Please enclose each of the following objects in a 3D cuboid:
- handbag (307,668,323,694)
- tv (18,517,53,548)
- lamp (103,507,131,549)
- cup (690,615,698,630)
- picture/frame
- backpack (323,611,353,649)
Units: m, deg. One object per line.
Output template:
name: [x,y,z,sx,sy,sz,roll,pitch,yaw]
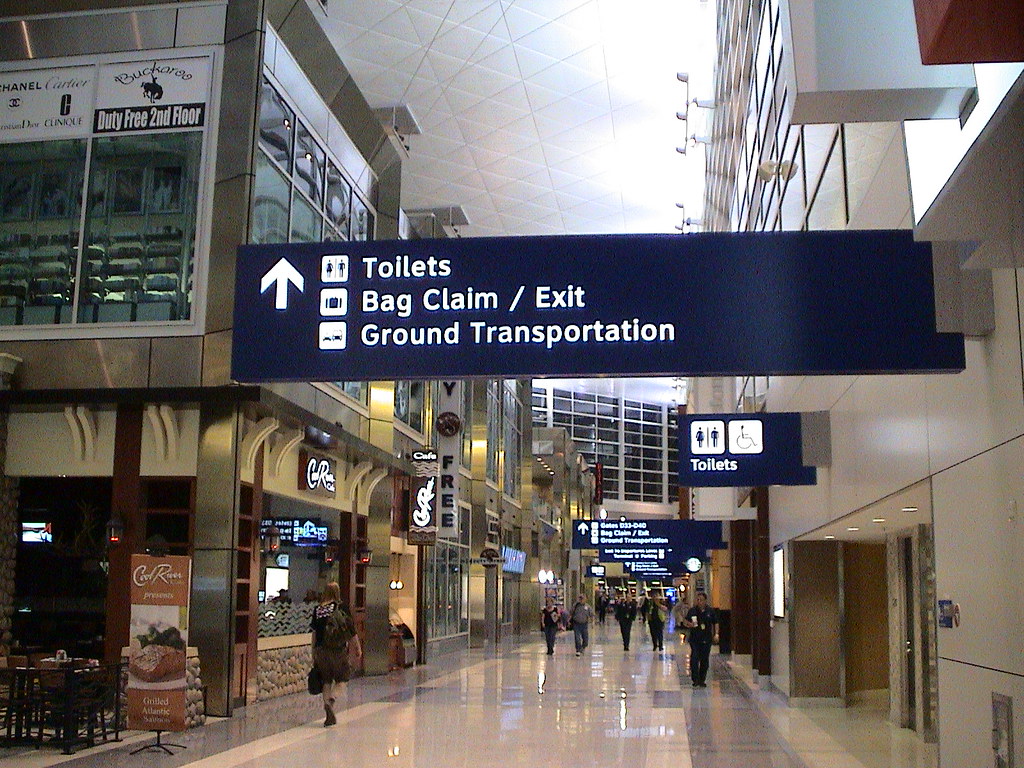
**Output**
handbag: [-2.826,4.290,12.036,0.190,0.354,0.251,3,-14,-9]
tv: [-11.073,3.446,19.428,0.785,0.544,0.401,0,-14,7]
lamp: [-6.301,2.317,13.341,0.300,0.560,0.305,7,-15,-23]
cup: [3.909,5.134,17.906,0.180,0.406,0.198,-1,-8,0]
picture/frame: [-7.256,-3.394,14.446,3.636,1.033,0.222,-1,-13,8]
backpack: [-2.548,3.570,12.081,0.440,0.658,0.311,4,-6,-22]
